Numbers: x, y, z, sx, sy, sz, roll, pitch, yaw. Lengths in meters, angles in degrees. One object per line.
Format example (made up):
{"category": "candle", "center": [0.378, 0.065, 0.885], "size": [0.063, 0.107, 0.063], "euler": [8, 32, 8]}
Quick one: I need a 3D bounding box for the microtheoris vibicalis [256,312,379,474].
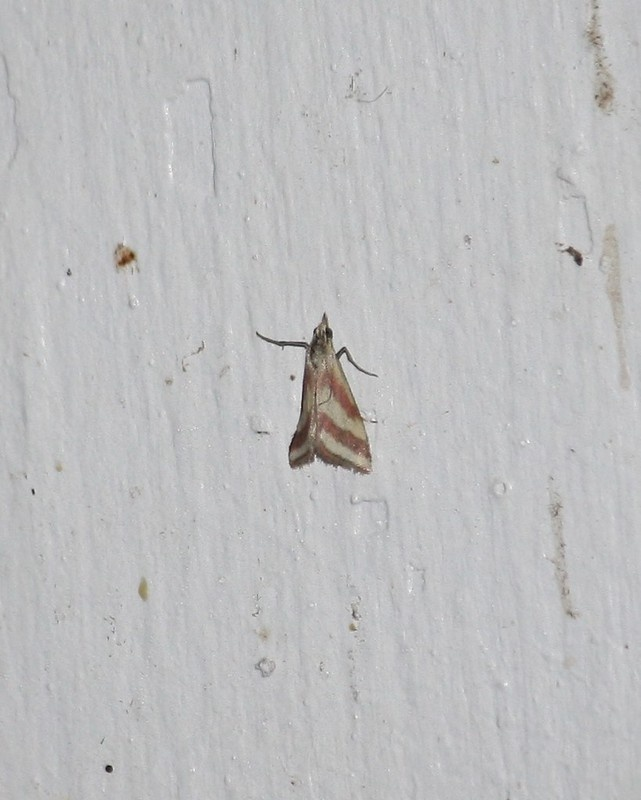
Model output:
{"category": "microtheoris vibicalis", "center": [0.026, -0.037, 4.351], "size": [0.201, 0.073, 0.385], "euler": [2, 96, 0]}
